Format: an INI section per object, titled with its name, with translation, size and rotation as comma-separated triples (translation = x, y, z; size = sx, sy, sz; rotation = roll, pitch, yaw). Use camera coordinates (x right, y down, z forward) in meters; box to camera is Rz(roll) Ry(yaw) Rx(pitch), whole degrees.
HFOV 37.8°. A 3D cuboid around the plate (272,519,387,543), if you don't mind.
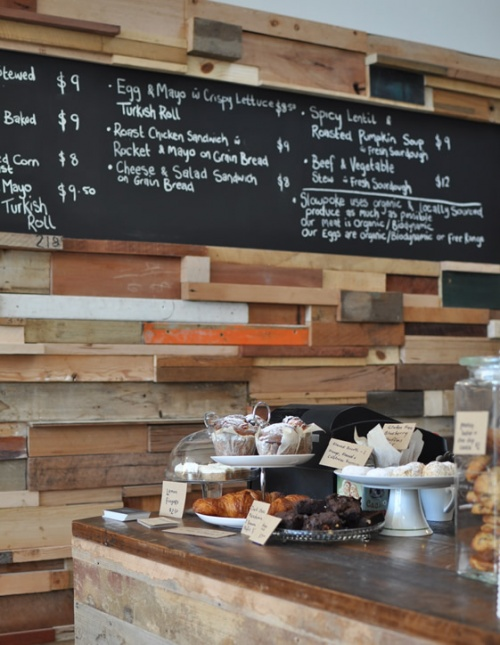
[plate]
translation = 0.168, 0.455, 1.569
size = 0.240, 0.048, 0.086
rotation = -3, 3, -1
